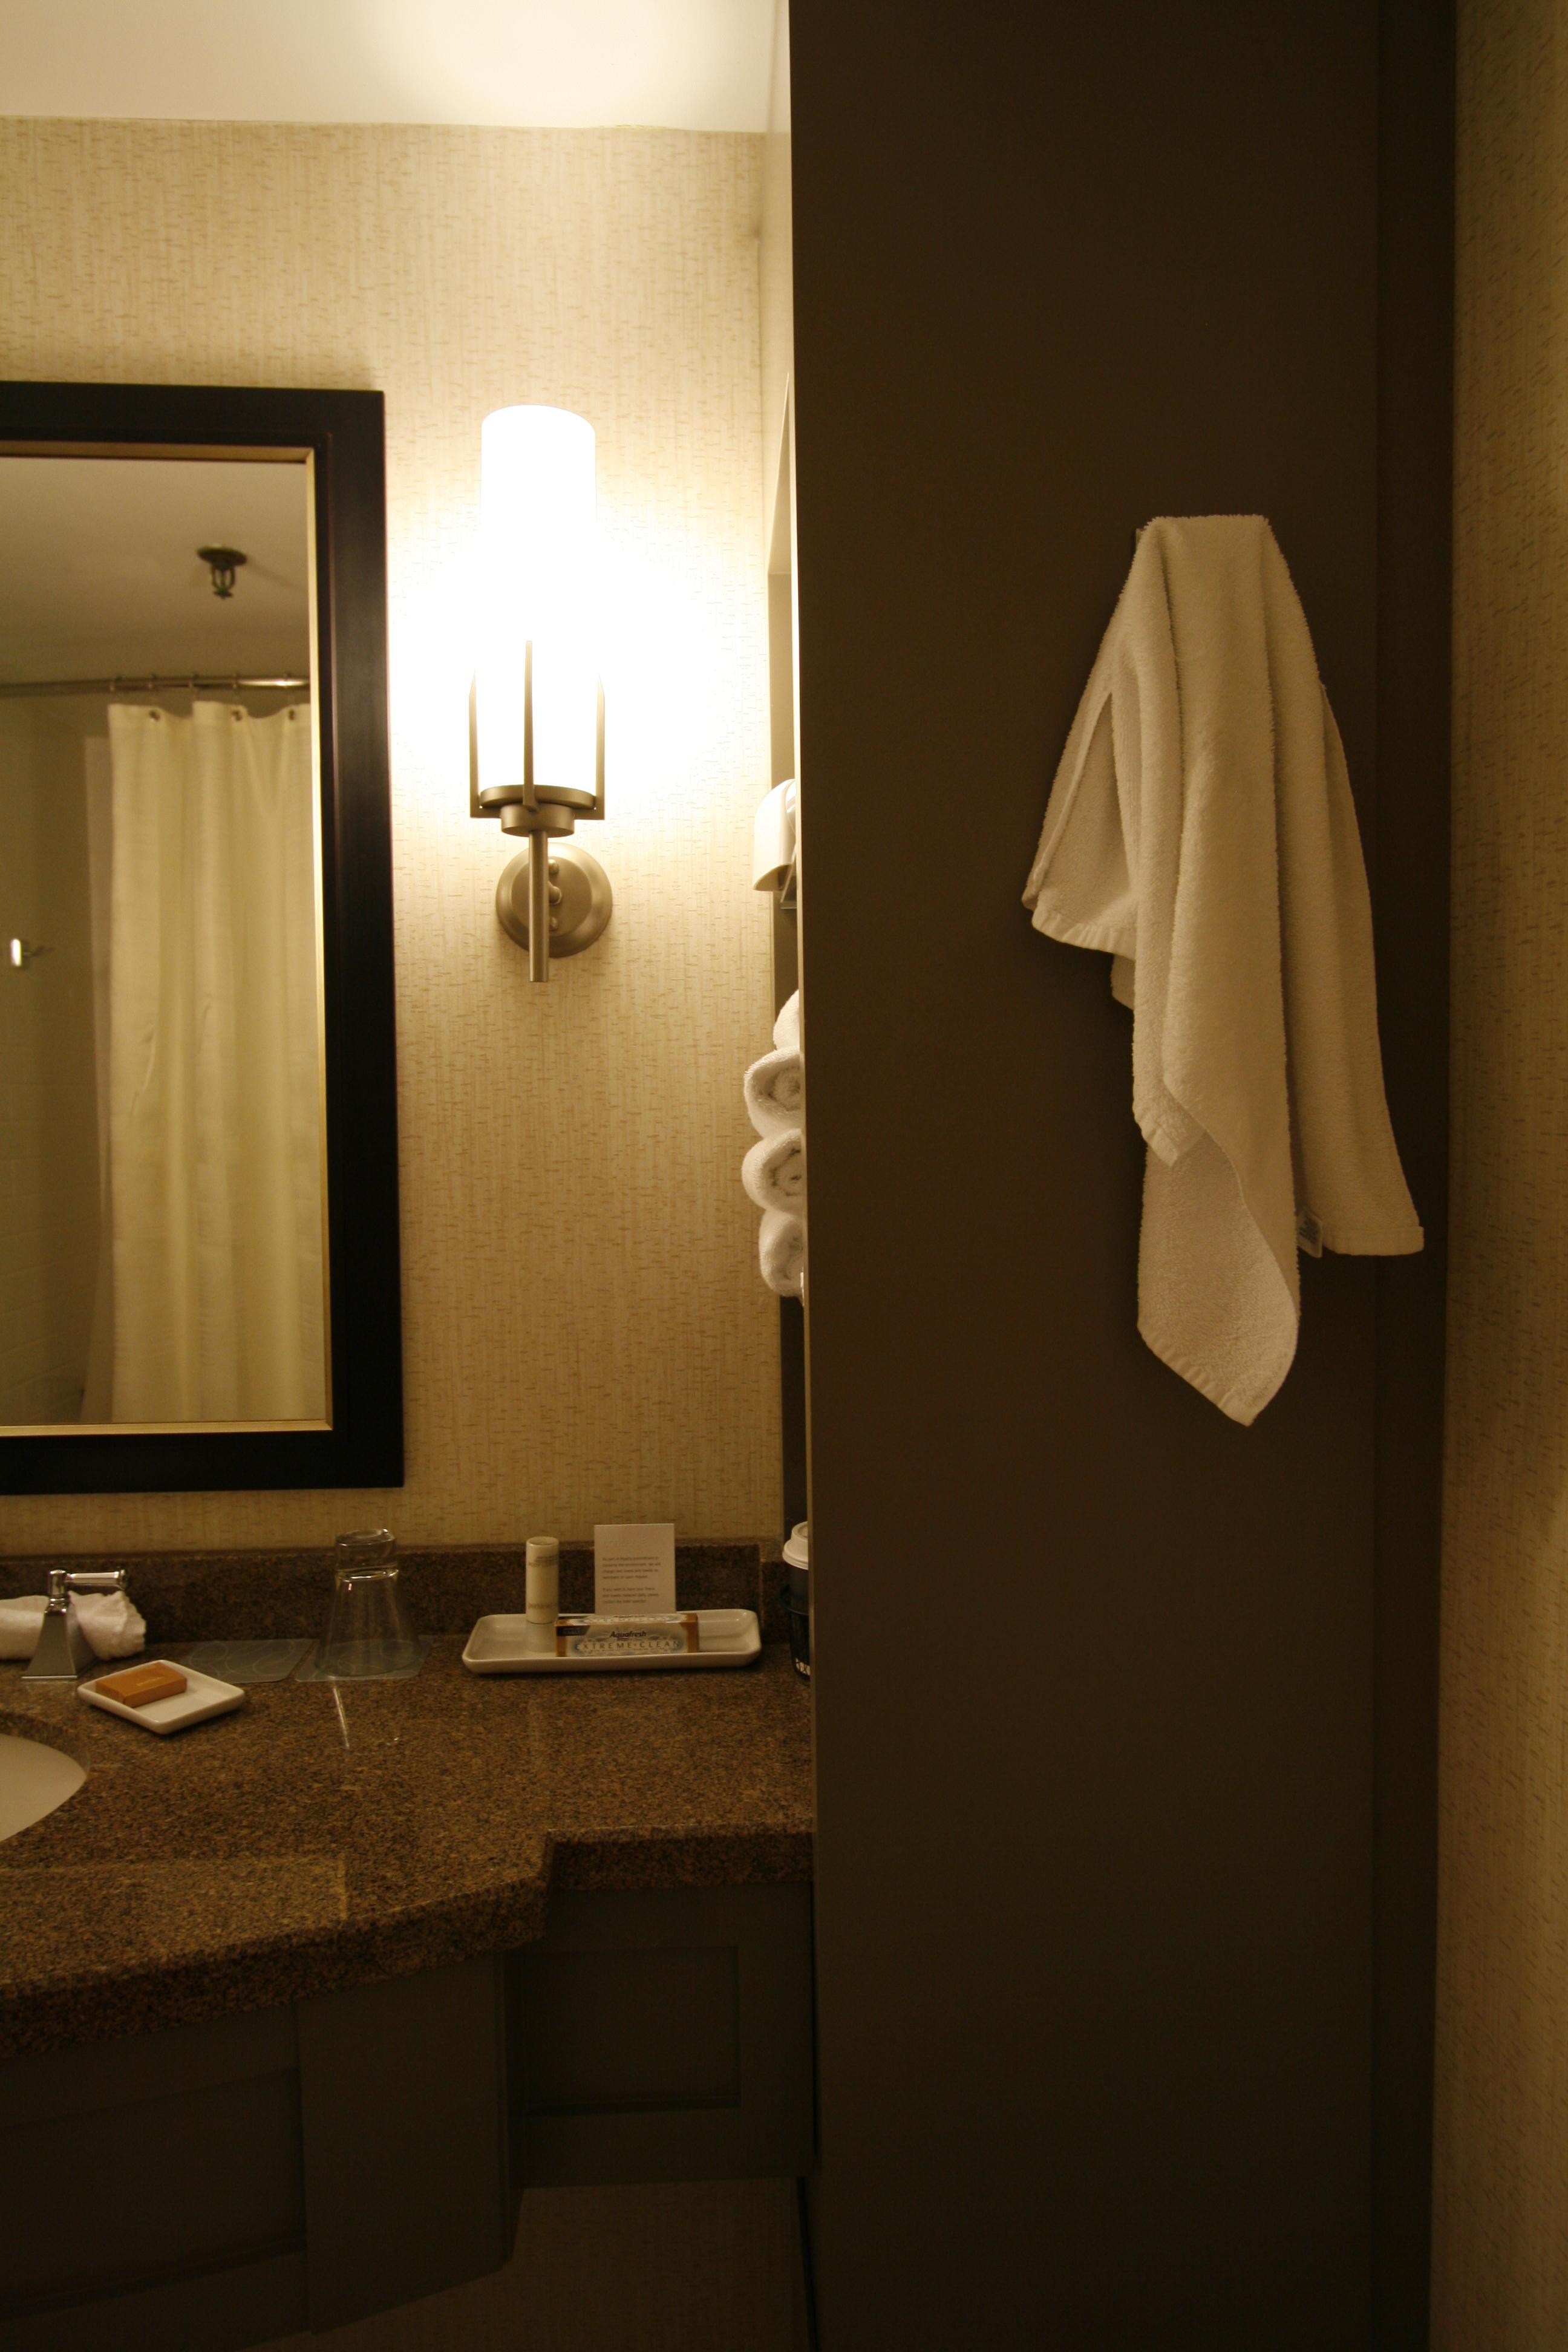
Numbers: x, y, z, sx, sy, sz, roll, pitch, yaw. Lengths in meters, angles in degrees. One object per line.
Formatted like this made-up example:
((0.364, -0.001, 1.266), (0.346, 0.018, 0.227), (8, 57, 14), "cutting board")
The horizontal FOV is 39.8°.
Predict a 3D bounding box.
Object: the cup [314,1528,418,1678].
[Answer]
((-0.348, 0.368, 1.874), (0.094, 0.129, 0.107), (0, 5, 0), "cup")

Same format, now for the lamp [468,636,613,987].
((-0.217, -0.315, 1.907), (0.126, 0.285, 0.168), (-3, 6, -6), "lamp")

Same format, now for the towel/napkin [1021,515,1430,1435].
((0.285, -0.140, 1.427), (0.249, 0.593, 0.132), (-2, 6, 5), "towel/napkin")
